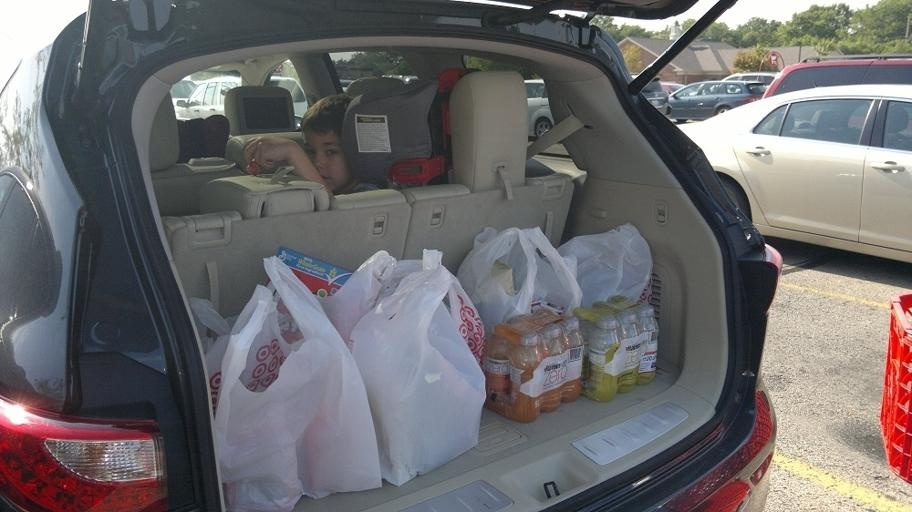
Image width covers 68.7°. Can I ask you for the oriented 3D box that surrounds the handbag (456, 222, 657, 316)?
[{"bbox_3d":[0.526,0.059,3.289,0.674,0.300,0.532,-3,27,5],"label":"handbag"}]

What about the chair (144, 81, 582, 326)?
[{"bbox_3d":[-0.614,-0.176,3.676,1.428,0.896,1.441,-6,21,-16],"label":"chair"}]
